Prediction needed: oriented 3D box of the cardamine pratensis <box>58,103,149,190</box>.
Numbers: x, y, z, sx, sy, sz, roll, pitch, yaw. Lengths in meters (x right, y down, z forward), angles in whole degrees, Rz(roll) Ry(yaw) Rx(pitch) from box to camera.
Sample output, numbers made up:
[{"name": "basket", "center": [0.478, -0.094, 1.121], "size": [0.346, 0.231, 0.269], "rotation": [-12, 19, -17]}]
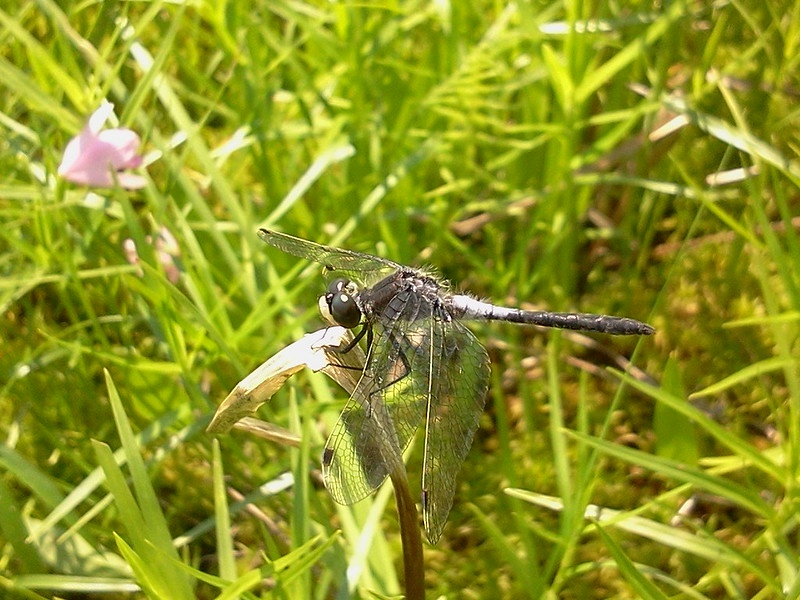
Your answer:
[{"name": "cardamine pratensis", "center": [-0.983, -0.494, 2.795], "size": [0.242, 0.329, 0.281], "rotation": [15, 24, 23]}]

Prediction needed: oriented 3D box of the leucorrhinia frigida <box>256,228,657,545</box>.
[{"name": "leucorrhinia frigida", "center": [0.031, 0.127, 2.787], "size": [0.919, 0.703, 1.139], "rotation": [32, 72, 25]}]
